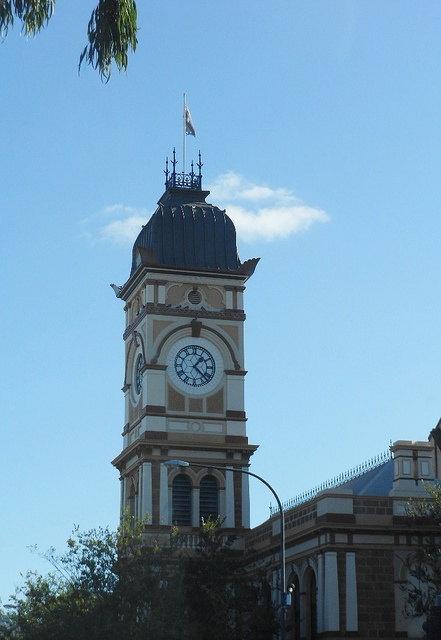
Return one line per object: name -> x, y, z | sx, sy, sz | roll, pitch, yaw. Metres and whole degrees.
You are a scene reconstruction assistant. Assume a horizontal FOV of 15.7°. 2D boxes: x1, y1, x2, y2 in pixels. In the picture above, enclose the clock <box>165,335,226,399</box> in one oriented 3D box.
clock -> -1.259, 2.196, 73.173 | 1.993, 2.606, 0.108 | 14, -29, -20
